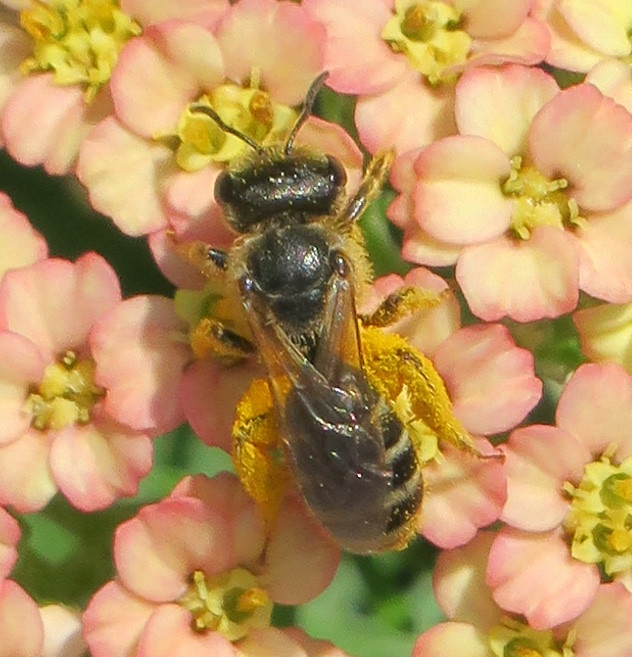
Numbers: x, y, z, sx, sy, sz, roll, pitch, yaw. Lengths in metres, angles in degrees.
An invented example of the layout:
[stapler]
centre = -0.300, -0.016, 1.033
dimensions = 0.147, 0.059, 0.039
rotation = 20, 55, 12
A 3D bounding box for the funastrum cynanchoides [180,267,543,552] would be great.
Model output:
[funastrum cynanchoides]
centre = 0.026, 0.071, 1.047
dimensions = 0.397, 0.231, 0.263
rotation = -16, -58, -14
